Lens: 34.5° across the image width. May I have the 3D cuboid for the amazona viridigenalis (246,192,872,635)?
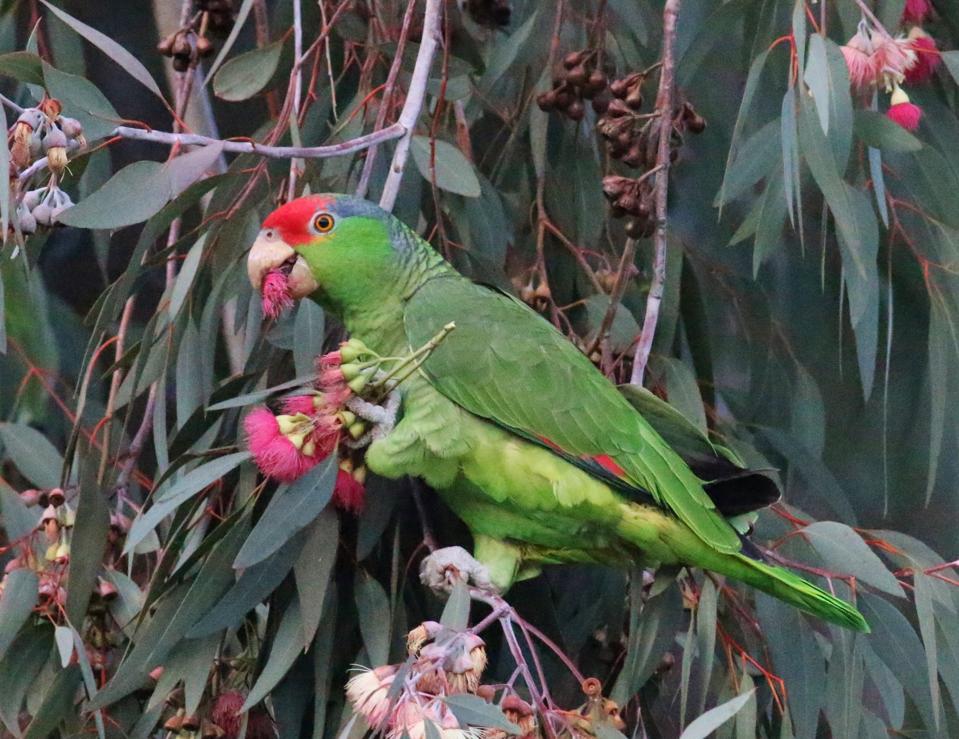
[{"bbox_3d":[0.099,0.042,2.554,0.938,0.665,0.339,0,-3,-19],"label":"amazona viridigenalis"}]
